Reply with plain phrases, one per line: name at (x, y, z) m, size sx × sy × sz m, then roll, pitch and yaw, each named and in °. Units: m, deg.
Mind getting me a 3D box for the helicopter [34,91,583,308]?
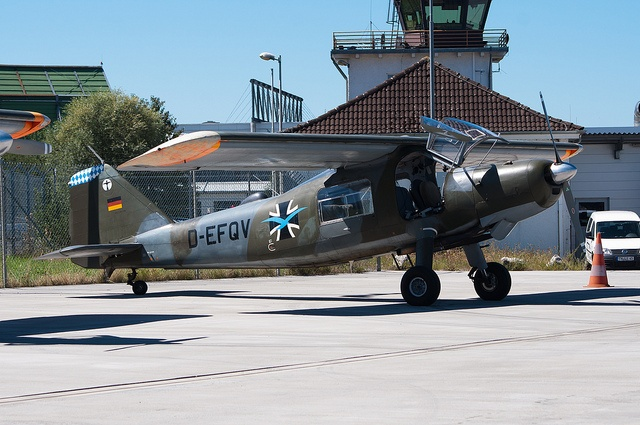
helicopter at (-0.507, -0.075, 24.423) m, size 13.061 × 4.630 × 5.657 m, roll 2°, pitch 14°, yaw 12°
